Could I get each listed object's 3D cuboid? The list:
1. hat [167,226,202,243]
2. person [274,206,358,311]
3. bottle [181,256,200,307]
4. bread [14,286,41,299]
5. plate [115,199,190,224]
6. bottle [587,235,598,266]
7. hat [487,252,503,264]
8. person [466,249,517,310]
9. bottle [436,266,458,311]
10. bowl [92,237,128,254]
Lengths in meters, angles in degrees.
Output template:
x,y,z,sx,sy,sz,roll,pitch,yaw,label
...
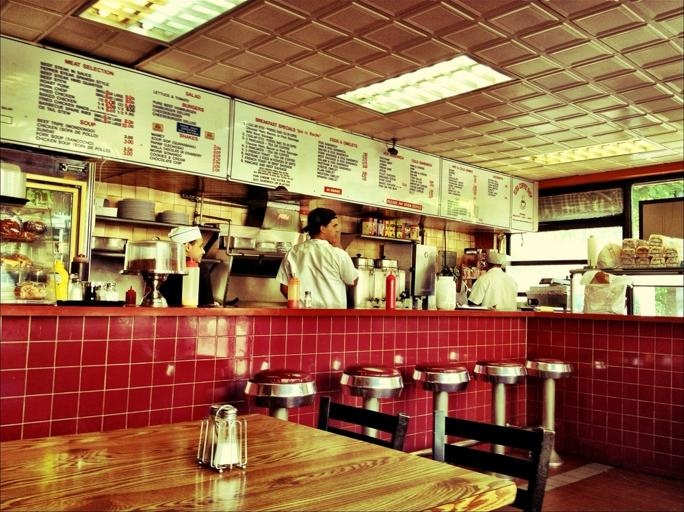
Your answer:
x,y,z,sx,sy,sz,roll,pitch,yaw,label
-1.276,-0.182,4.489,0.270,0.098,0.184,-3,-4,11,hat
-0.229,0.009,4.832,0.657,0.864,0.490,0,9,-23,person
-1.006,0.177,3.656,0.104,0.318,0.314,2,7,-16,bottle
-1.658,0.187,2.918,0.126,0.091,0.061,-1,9,-27,bread
-2.012,-0.435,5.787,0.506,0.132,0.366,2,-2,-37,plate
2.804,-0.048,6.160,0.113,0.319,0.211,7,8,17,bottle
1.802,0.019,6.484,0.148,0.106,0.177,5,-4,-24,hat
1.738,0.285,6.268,0.474,0.635,0.717,7,8,22,person
0.983,0.344,5.193,0.208,0.322,0.375,5,7,9,bottle
-2.356,-0.119,5.557,0.420,0.180,0.251,-3,9,-42,bowl
